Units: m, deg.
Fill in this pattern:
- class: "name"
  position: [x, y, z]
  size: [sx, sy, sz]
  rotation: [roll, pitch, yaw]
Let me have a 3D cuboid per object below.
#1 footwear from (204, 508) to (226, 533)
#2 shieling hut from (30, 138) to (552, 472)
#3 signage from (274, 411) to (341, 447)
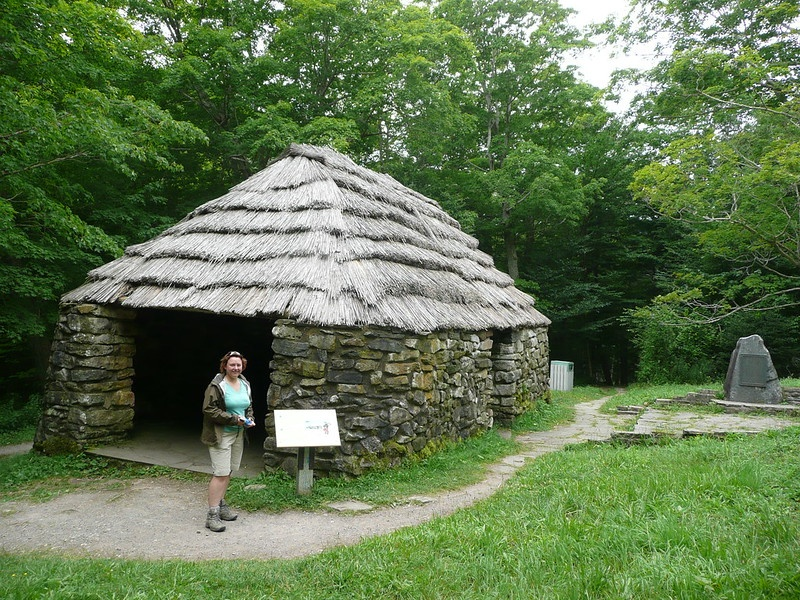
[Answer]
- class: "footwear"
  position: [-2.602, 3.076, 8.396]
  size: [0.268, 0.295, 0.310]
  rotation: [-9, 11, -20]
- class: "shieling hut"
  position: [-1.037, 0.181, 13.705]
  size: [7.516, 4.466, 8.950]
  rotation: [-2, -4, 26]
- class: "signage"
  position: [-1.471, 1.993, 9.257]
  size: [1.078, 0.612, 0.184]
  rotation: [-2, -17, -32]
